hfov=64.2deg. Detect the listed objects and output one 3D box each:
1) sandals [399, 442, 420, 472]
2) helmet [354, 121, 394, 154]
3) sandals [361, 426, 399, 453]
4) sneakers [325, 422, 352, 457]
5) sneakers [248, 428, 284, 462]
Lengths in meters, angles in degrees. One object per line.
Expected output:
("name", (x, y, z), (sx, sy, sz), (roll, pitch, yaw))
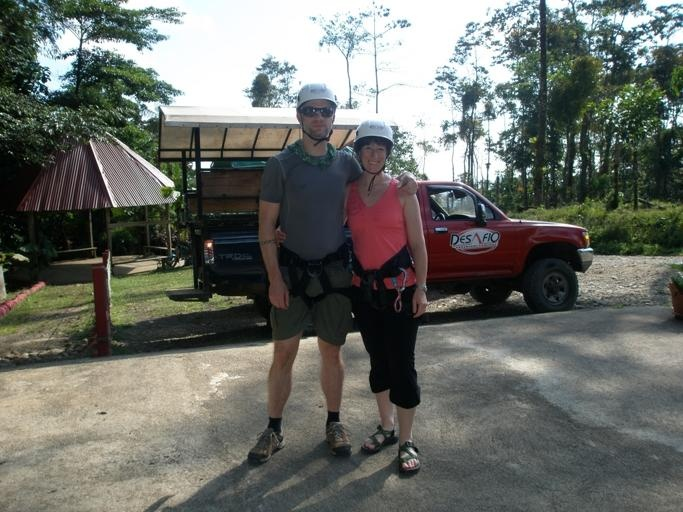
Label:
("sandals", (0.526, 1.564, 4.244), (0.162, 0.204, 0.168), (-1, 10, 2))
("helmet", (0.262, -0.979, 4.326), (0.218, 0.315, 0.234), (1, -9, -1))
("sandals", (0.313, 1.525, 4.555), (0.296, 0.166, 0.138), (-8, 2, -34))
("sneakers", (-0.032, 1.505, 4.500), (0.124, 0.150, 0.312), (-3, -9, -20))
("sneakers", (-0.614, 1.544, 4.407), (0.141, 0.139, 0.318), (7, 8, 19))
